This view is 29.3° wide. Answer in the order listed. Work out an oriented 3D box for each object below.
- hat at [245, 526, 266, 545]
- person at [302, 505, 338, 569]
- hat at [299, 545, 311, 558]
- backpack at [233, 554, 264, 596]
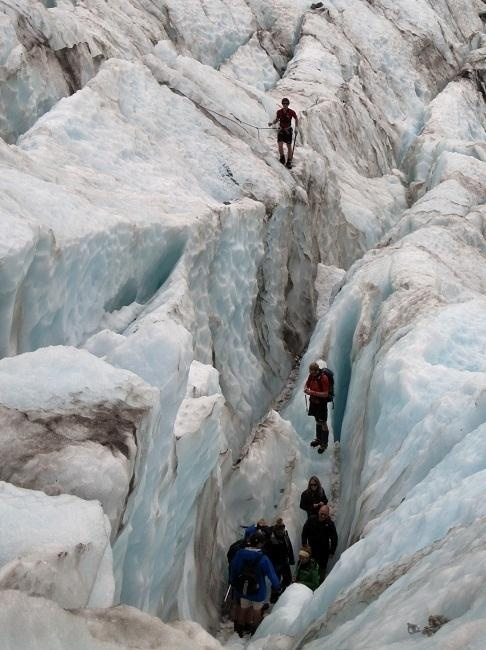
[{"bbox_3d":[0.084,1.578,6.851,0.110,0.183,0.161,1,8,11],"label":"hat"},{"bbox_3d":[0.602,1.748,7.425,0.266,0.781,0.167,3,23,2],"label":"person"},{"bbox_3d":[0.465,1.725,7.115,0.050,0.068,0.085,1,-23,15],"label":"hat"},{"bbox_3d":[0.046,1.801,6.738,0.190,0.323,0.161,11,9,14],"label":"backpack"}]
